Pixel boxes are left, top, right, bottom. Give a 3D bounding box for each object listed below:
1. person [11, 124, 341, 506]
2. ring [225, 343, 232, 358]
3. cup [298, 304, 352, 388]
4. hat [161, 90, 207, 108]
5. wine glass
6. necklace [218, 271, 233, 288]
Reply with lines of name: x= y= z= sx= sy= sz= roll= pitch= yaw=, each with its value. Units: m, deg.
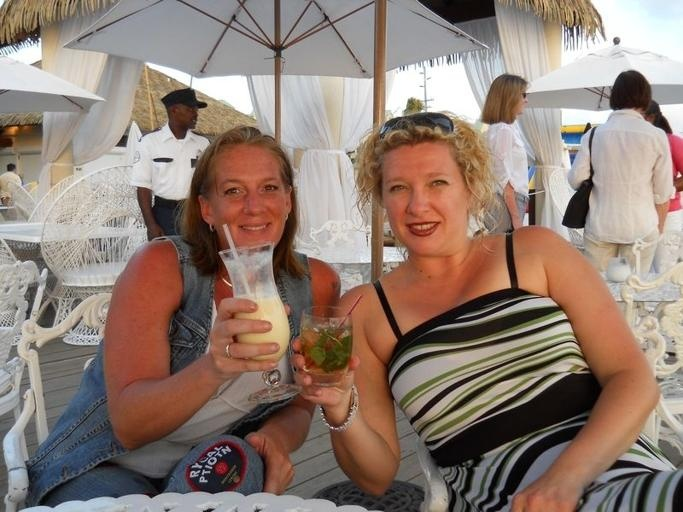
person: x=-0.598 y=0.365 z=2.008 sx=0.998 sy=1.706 sz=0.872 roll=3 pitch=9 yaw=-40
ring: x=-0.344 y=0.291 z=1.587 sx=0.027 sy=0.035 sz=0.014 roll=-1 pitch=11 yaw=19
cup: x=-0.066 y=0.280 z=1.714 sx=0.171 sy=0.253 sz=0.208 roll=-1 pitch=7 yaw=-9
hat: x=-1.615 y=-1.592 z=5.300 sx=0.397 sy=0.146 sz=0.258 roll=-3 pitch=9 yaw=-14
wine glass: x=-0.284 y=0.226 z=1.840 sx=0.208 sy=0.550 sz=0.208 roll=-5 pitch=8 yaw=19
necklace: x=-0.490 y=0.100 z=2.187 sx=0.067 sy=0.067 sz=0.062 roll=-7 pitch=-10 yaw=-9
